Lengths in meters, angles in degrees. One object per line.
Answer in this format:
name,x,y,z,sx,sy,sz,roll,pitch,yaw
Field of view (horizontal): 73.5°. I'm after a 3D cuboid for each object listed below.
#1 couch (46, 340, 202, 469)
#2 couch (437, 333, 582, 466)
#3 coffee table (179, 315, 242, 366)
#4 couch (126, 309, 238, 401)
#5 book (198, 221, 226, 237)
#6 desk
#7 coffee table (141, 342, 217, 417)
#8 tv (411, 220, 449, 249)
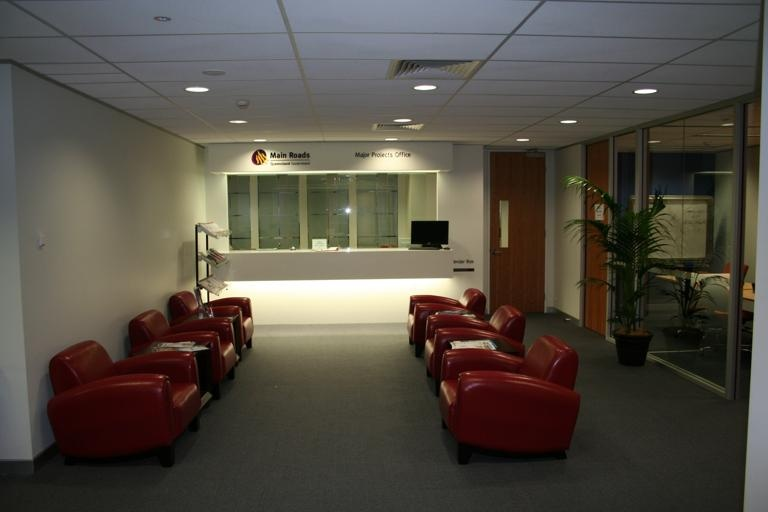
couch,-2.932,1.577,5.943,1.495,0.951,1.467,7,5,-1
couch,1.291,1.545,5.853,1.471,1.151,1.486,0,-1,0
coffee table,-2.658,1.237,7.817,0.842,0.778,0.752,1,7,0
couch,-2.892,1.328,7.404,1.469,1.059,1.461,-2,10,-36
book,-3.078,-0.505,9.171,0.383,0.132,0.374,25,14,19
desk,4.582,0.789,7.273,0.798,1.028,1.488,-1,2,-2
coffee table,-2.634,1.558,6.629,0.807,0.848,0.756,-3,6,-9
tv,0.930,-0.463,10.305,0.616,0.400,0.167,0,1,6
